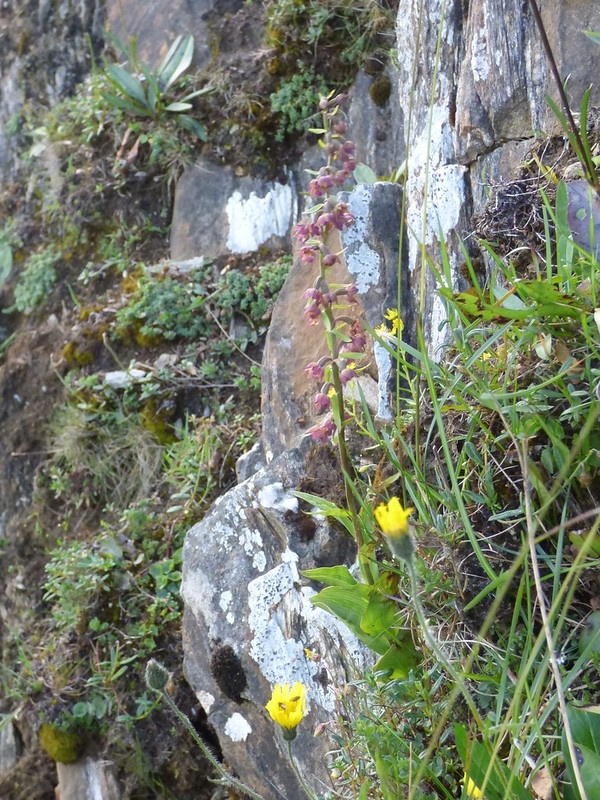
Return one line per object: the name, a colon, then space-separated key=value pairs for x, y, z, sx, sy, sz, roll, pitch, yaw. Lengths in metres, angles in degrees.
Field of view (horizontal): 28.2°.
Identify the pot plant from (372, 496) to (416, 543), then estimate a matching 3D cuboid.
pot plant: x=0.188 y=0.222 z=2.354 sx=0.073 sy=0.096 sz=0.082 roll=-11 pitch=2 yaw=-27
